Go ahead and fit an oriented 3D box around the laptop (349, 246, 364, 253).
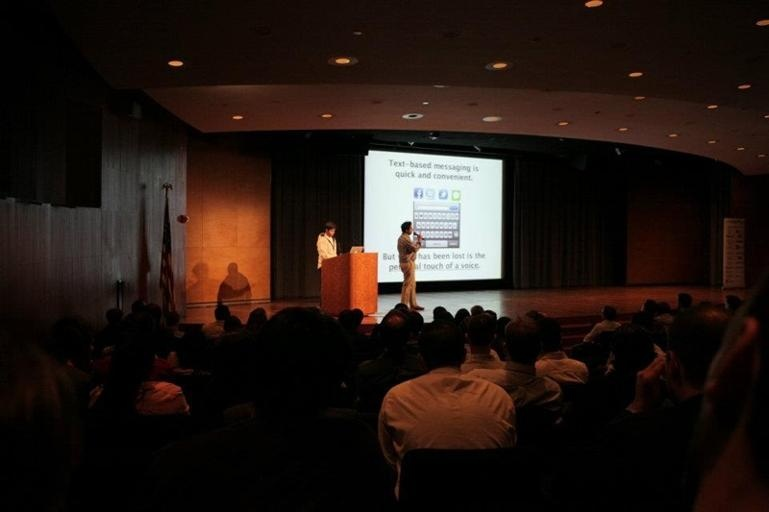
[{"bbox_3d":[-0.378,-0.088,7.905,0.149,0.093,0.388,1,1,3],"label":"laptop"}]
